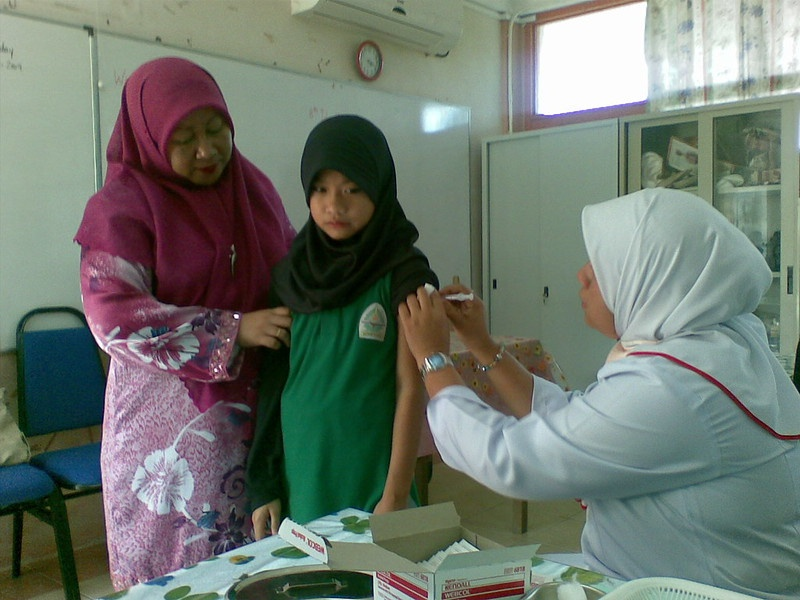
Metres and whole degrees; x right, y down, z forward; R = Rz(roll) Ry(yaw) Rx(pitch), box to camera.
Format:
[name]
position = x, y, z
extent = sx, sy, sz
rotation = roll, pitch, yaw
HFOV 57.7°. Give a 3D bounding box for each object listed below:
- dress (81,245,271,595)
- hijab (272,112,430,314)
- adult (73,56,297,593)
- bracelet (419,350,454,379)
[dress]
position = -0.561, 0.281, 1.815
extent = 0.408, 0.840, 0.187
rotation = -7, 9, -13
[hijab]
position = -0.128, -0.213, 1.878
extent = 0.464, 0.476, 0.279
rotation = -3, -4, 25
[adult]
position = -0.509, 0.185, 2.009
extent = 0.568, 1.618, 0.596
rotation = 10, 17, 32
[bracelet]
position = 0.081, 0.140, 1.591
extent = 0.063, 0.041, 0.066
rotation = 9, -23, -24
